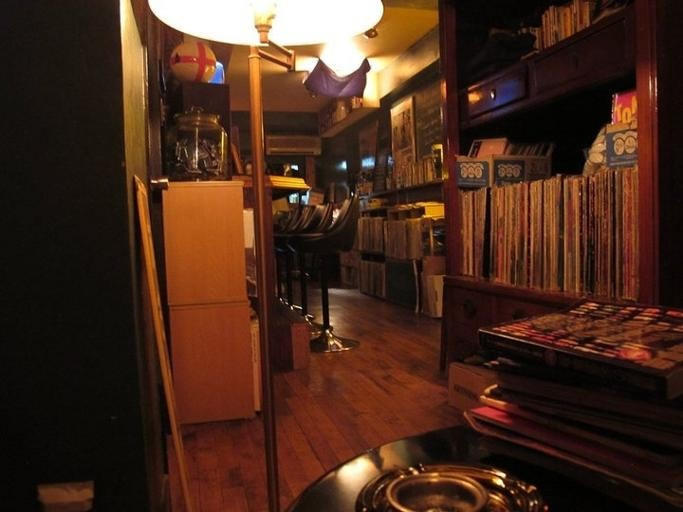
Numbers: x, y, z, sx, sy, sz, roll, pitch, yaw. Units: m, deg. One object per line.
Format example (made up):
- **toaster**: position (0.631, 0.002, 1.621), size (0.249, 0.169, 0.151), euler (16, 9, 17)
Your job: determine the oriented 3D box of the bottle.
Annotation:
- **bottle**: position (-0.583, -0.477, 2.535), size (0.290, 0.350, 0.302), euler (-1, -2, 4)
